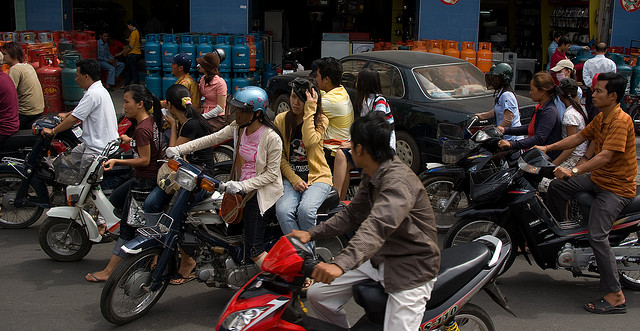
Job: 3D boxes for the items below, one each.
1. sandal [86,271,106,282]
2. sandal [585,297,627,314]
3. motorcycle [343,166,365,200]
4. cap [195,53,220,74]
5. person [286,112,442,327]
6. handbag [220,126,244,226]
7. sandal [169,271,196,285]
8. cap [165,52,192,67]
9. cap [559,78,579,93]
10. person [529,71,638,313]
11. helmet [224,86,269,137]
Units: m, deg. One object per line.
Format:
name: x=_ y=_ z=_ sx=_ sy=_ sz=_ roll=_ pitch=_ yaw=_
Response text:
sandal: x=-3.539 y=1.757 z=7.008 sx=0.315 sy=0.074 sz=0.114 roll=13 pitch=15 yaw=-11
sandal: x=4.250 y=2.059 z=6.608 sx=0.507 sy=0.160 sz=0.237 roll=0 pitch=0 yaw=-1
motorcycle: x=0.711 y=0.350 z=8.833 sx=0.229 sy=0.595 sz=0.632 roll=23 pitch=33 yaw=19
cap: x=-2.375 y=-2.177 z=9.475 sx=0.436 sy=0.428 sz=0.279 roll=-1 pitch=14 yaw=-12
person: x=0.693 y=0.714 z=5.057 sx=1.553 sy=2.561 sz=0.874 roll=2 pitch=14 yaw=-1
handbag: x=-1.243 y=0.169 z=6.240 sx=0.340 sy=1.367 sz=0.574 roll=0 pitch=14 yaw=-10
sandal: x=-1.979 y=1.594 z=6.353 sx=0.432 sy=0.156 sz=0.094 roll=-12 pitch=-26 yaw=-24
cap: x=-2.981 y=-2.273 z=9.578 sx=0.334 sy=0.289 sz=0.379 roll=-4 pitch=15 yaw=-23
cap: x=4.390 y=-1.412 z=7.852 sx=0.287 sy=0.227 sz=0.397 roll=8 pitch=15 yaw=25
person: x=4.131 y=0.212 z=6.703 sx=1.170 sy=3.141 sz=0.893 roll=10 pitch=16 yaw=27
helmet: x=-0.948 y=-0.811 z=6.220 sx=0.599 sy=0.535 sz=0.438 roll=-12 pitch=22 yaw=-22
